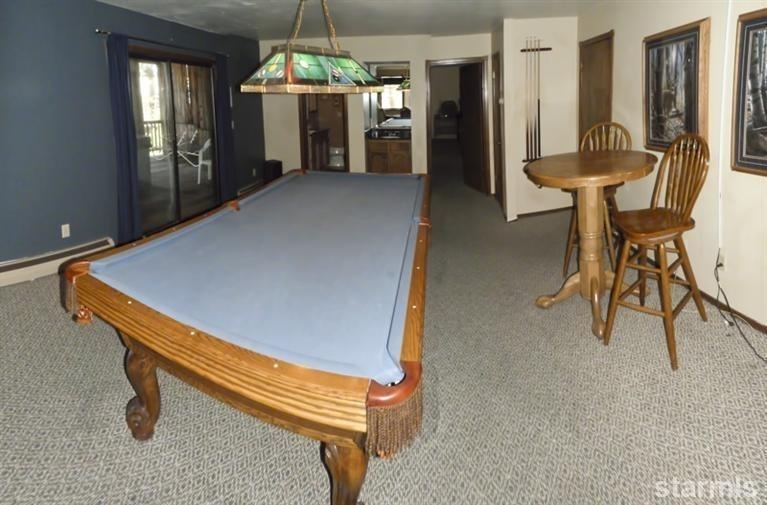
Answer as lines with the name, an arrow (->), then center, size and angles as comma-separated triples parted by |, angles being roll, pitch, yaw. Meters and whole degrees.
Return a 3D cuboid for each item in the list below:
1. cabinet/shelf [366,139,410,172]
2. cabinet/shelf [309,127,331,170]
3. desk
cabinet/shelf -> 0.082, -1.800, 9.449 | 0.598, 0.484, 0.223 | 0, 16, 6
cabinet/shelf -> -1.250, -1.936, 9.823 | 0.172, 0.767, 0.634 | 4, 19, 24
desk -> -0.862, 0.573, 3.263 | 1.190, 0.638, 2.166 | 10, 26, 12
